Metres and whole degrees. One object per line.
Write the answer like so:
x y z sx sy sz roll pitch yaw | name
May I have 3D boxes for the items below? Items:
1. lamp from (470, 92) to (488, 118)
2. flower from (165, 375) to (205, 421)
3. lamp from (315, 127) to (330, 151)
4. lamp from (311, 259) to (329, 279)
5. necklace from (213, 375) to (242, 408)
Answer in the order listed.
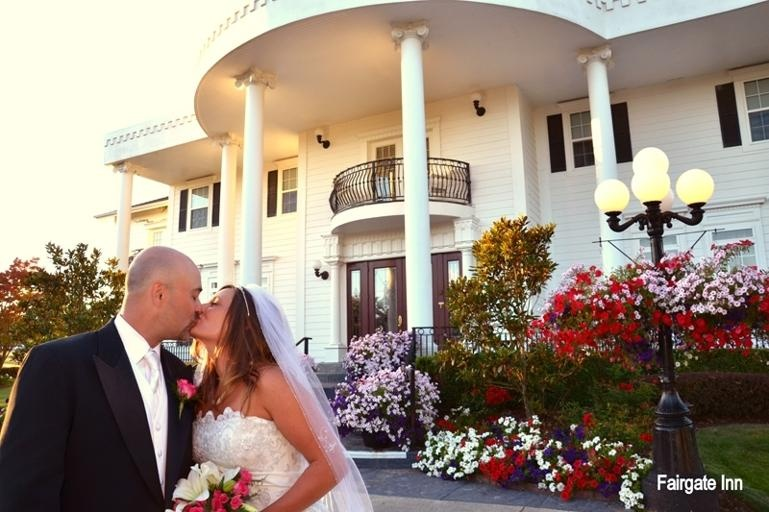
2.750 -4.373 15.880 0.378 0.694 0.348 -5 -6 17 | lamp
-1.635 1.099 4.426 0.284 0.304 0.274 5 -24 -13 | flower
-1.984 -3.774 17.743 0.506 0.679 0.450 -5 -6 18 | lamp
-1.933 0.436 17.195 0.469 0.637 0.472 -2 -6 -15 | lamp
-1.274 1.092 4.498 0.140 0.194 0.175 34 7 20 | necklace
